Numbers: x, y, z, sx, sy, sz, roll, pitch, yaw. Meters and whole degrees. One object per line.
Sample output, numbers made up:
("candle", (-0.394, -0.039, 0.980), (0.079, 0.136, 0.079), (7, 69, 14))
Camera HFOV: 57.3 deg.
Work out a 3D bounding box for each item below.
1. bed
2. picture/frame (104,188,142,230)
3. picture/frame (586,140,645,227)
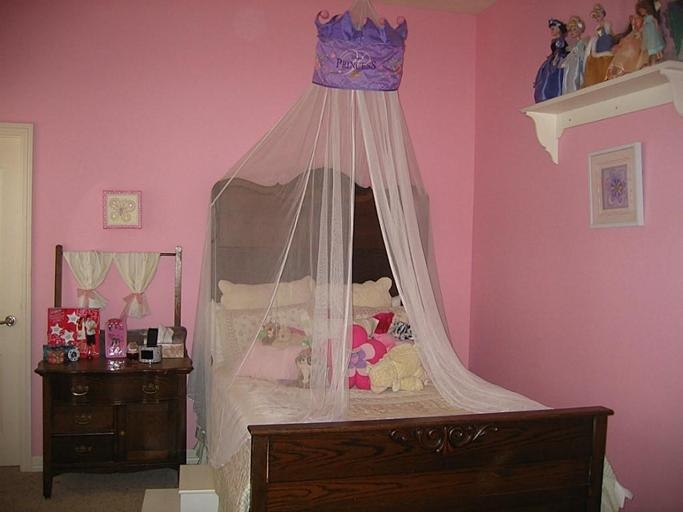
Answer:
("bed", (-0.064, 0.390, 3.978), (1.611, 1.614, 2.027), (-2, 4, -17))
("picture/frame", (-1.535, -0.335, 4.358), (0.258, 0.289, 0.036), (0, 1, -16))
("picture/frame", (1.575, -0.418, 3.578), (0.045, 0.640, 0.489), (-2, 0, -24))
